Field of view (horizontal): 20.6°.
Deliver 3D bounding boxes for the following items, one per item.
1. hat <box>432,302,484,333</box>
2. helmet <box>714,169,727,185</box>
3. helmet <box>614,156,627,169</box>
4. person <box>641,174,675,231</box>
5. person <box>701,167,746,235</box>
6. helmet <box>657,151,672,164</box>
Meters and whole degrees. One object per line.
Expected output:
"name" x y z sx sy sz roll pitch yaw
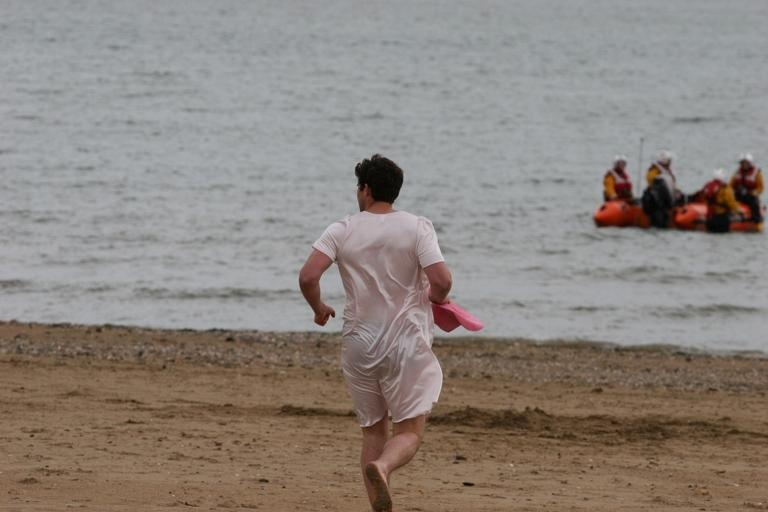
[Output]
"hat" 0.878 0.719 27.801 0.849 0.277 0.520 6 -20 46
"helmet" 5.432 -1.399 34.027 0.209 0.156 0.223 12 -15 -3
"helmet" 3.792 -1.632 34.070 0.192 0.222 0.226 -2 41 -1
"person" 4.408 -0.967 33.924 0.282 0.664 0.536 -1 23 1
"person" 5.436 -0.836 34.052 0.513 1.311 0.726 -10 14 -30
"helmet" 4.545 -1.725 34.038 0.183 0.184 0.216 5 22 17
